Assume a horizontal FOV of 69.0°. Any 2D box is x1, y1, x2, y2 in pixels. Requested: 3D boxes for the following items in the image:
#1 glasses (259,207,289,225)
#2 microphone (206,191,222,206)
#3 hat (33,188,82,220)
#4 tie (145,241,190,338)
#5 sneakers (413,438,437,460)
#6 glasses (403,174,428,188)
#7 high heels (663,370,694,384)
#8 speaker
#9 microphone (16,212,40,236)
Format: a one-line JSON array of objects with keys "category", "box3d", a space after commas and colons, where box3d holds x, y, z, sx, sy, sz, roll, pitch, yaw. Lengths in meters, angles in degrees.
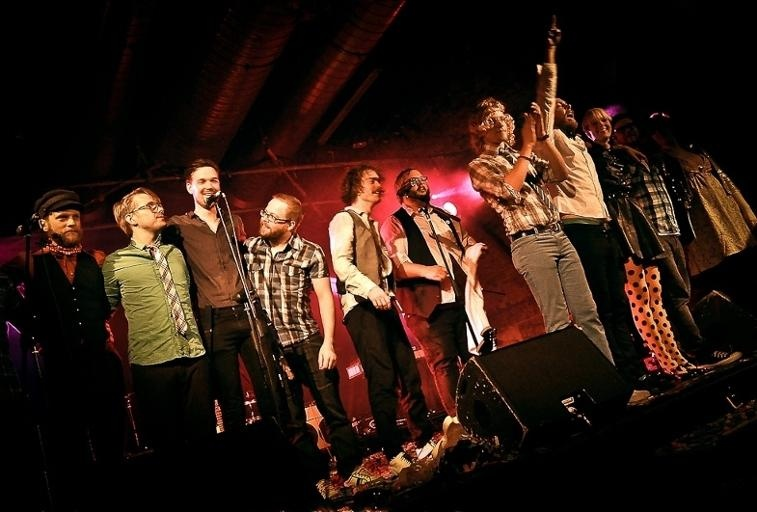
[{"category": "glasses", "box3d": [-0.950, -0.349, 5.053, 0.170, 0.047, 0.157, 19, -6, -28]}, {"category": "microphone", "box3d": [-1.489, -0.532, 5.006, 0.117, 0.072, 0.191, 6, -14, -36]}, {"category": "hat", "box3d": [-2.881, -0.454, 4.969, 0.363, 0.400, 0.240, -7, -25, -30]}, {"category": "tie", "box3d": [-1.821, 0.275, 4.763, 0.285, 0.900, 0.108, -26, -6, -24]}, {"category": "sneakers", "box3d": [0.407, 1.609, 4.572, 0.194, 0.138, 0.315, -18, -21, -2]}, {"category": "glasses", "box3d": [0.368, -0.738, 5.442, 0.137, 0.040, 0.138, -6, -17, -20]}, {"category": "high heels", "box3d": [2.742, 1.103, 5.047, 0.233, 0.124, 0.488, -26, -22, 19]}, {"category": "speaker", "box3d": [1.176, 1.195, 4.336, 1.118, 0.698, 0.920, -2, -25, -28]}, {"category": "microphone", "box3d": [-2.956, -0.259, 4.666, 0.151, 0.272, 0.273, -7, -24, -31]}]
